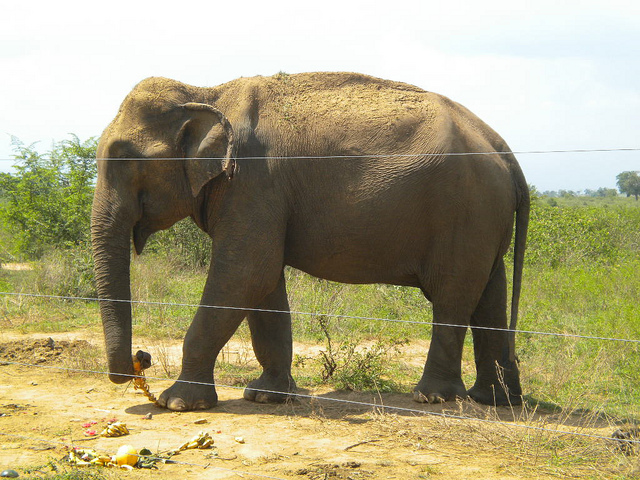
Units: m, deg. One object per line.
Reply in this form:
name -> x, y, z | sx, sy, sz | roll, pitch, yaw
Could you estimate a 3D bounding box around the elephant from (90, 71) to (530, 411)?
elephant -> -0.080, 0.000, 11.253 | 5.788, 4.989, 2.583 | 0, -4, 1
